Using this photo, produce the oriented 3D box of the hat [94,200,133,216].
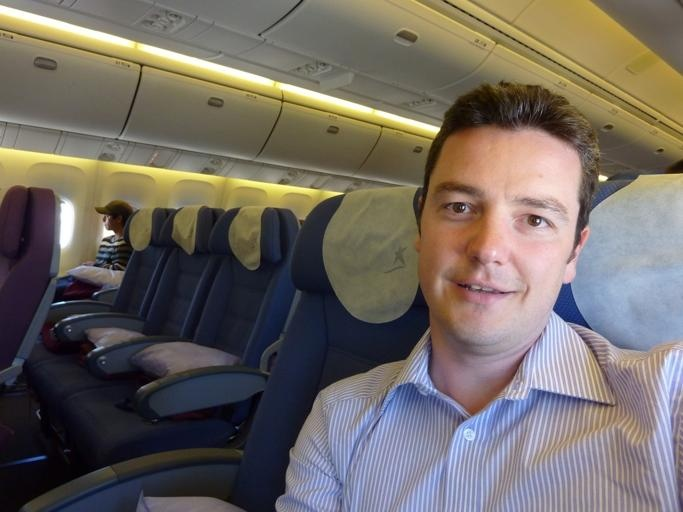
[{"bbox_3d":[-2.426,-0.501,5.295,0.326,0.117,0.206,3,2,-3],"label":"hat"}]
